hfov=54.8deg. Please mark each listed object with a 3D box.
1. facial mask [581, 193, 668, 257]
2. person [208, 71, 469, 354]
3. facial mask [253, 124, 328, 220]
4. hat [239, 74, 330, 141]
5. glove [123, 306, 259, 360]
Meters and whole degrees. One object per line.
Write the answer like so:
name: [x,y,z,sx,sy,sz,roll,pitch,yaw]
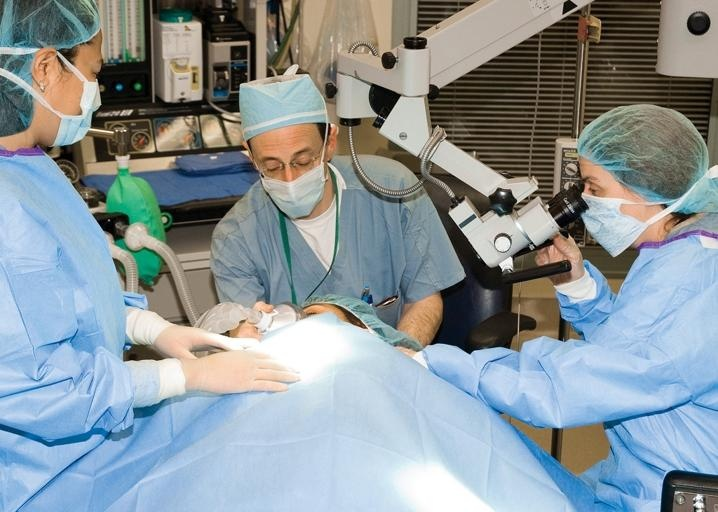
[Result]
facial mask: [0.759,-0.104,1.983,0.184,0.134,0.162,-18,12,12]
person: [-0.080,-0.121,2.448,0.700,0.912,0.625,-24,49,10]
facial mask: [-0.200,-0.327,2.453,0.241,0.280,0.300,-13,26,6]
hat: [-0.275,-0.518,2.352,0.190,0.153,0.274,-12,20,7]
glove: [-0.508,0.224,1.954,0.262,0.087,0.194,7,58,-9]
